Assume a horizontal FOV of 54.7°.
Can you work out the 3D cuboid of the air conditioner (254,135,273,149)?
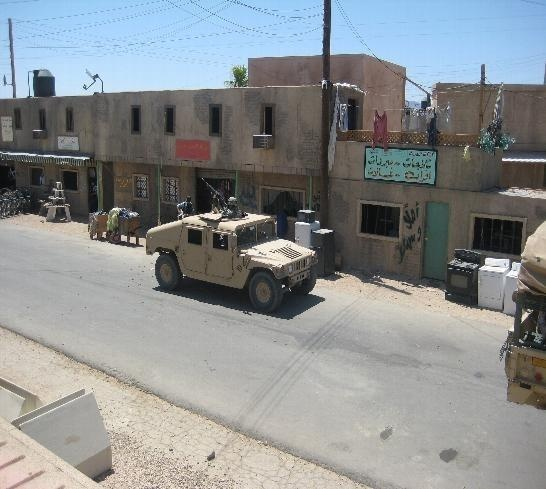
[{"bbox_3d":[-0.390,-3.768,19.349,0.726,0.504,0.398,1,12,4],"label":"air conditioner"}]

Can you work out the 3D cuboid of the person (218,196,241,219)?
[{"bbox_3d":[-1.279,-1.062,15.326,0.881,0.695,1.489,-1,9,-6],"label":"person"}]

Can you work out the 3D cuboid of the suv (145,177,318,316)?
[{"bbox_3d":[-1.214,0.032,15.062,4.857,2.890,2.251,7,14,29],"label":"suv"}]
